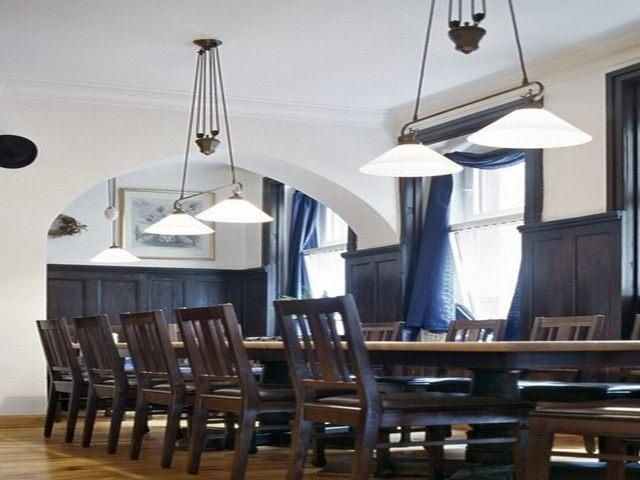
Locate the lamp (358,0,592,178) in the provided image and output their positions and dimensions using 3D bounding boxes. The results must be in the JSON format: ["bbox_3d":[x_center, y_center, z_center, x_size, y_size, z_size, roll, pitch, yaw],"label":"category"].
[{"bbox_3d":[1.395,-1.343,7.945,2.086,1.318,0.787,-8,-19,34],"label":"lamp"}]

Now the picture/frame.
[{"bbox_3d":[-1.895,-0.224,12.956,1.801,0.961,0.550,2,4,40],"label":"picture/frame"}]
